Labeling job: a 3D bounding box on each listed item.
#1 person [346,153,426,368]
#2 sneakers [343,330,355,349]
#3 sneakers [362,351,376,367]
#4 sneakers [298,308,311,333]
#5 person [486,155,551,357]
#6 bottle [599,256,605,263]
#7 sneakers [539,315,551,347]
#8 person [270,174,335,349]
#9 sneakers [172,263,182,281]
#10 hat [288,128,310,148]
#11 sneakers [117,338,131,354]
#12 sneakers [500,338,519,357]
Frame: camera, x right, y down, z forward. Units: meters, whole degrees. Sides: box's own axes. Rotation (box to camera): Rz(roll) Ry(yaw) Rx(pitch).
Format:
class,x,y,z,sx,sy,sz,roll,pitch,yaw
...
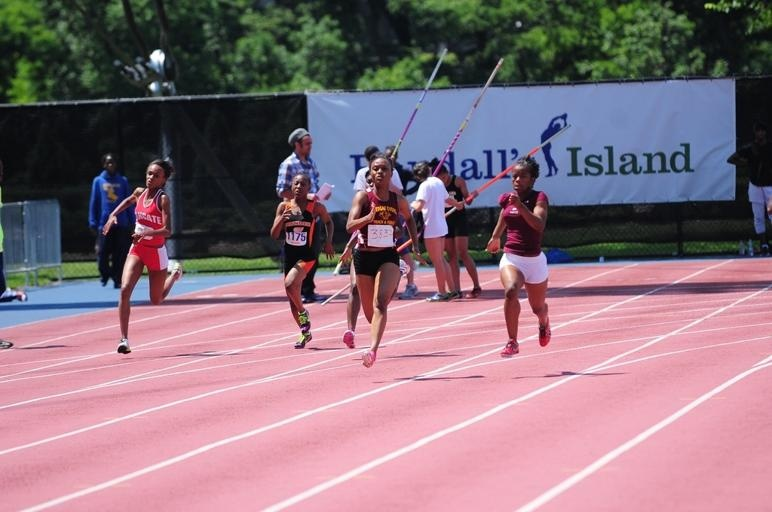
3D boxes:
class,x,y,z,sx,sy,sz,roll,pitch,yaw
person,-0.076,0.088,11.410,0.754,2.627,1.483,-2,5,8
sneakers,-0.455,1.093,11.680,0.110,0.307,0.147,1,38,1
sneakers,-0.191,1.218,10.869,0.182,0.202,0.185,-1,0,-43
sneakers,-1.119,0.881,12.920,0.115,0.156,0.368,-6,46,6
person,1.662,0.041,11.526,0.703,2.498,1.154,-2,5,9
bottle,4.922,0.092,21.209,0.130,0.160,0.135,-1,-1,42
sneakers,2.006,0.973,11.764,0.140,0.452,0.173,1,12,11
person,-1.128,0.071,13.093,0.846,2.399,0.760,-5,5,-20
sneakers,-3.035,0.236,13.626,0.173,0.128,0.451,0,12,-9
hat,-1.482,-2.054,16.028,0.279,0.265,0.406,-7,6,-36
sneakers,-3.546,1.274,12.646,0.129,0.161,0.340,2,-26,-3
sneakers,1.535,1.139,11.373,0.117,0.156,0.347,-3,-5,24
